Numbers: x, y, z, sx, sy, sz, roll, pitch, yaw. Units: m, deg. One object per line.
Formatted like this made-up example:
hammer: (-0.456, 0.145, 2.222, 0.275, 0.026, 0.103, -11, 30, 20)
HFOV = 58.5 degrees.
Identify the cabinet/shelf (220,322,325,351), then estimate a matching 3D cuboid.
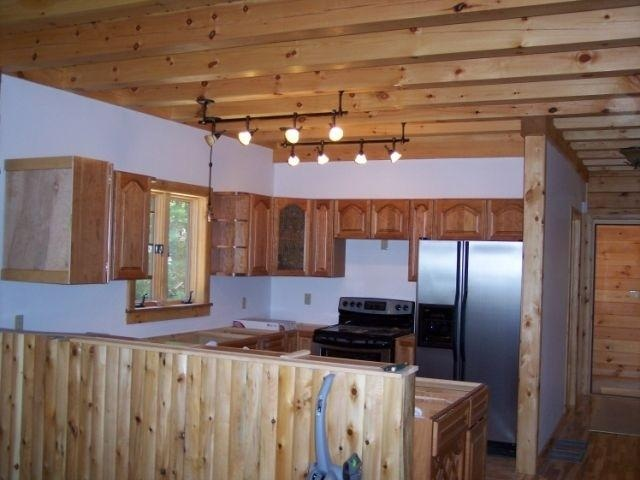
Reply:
cabinet/shelf: (-0.467, 1.083, 5.982, 0.230, 0.241, 1.330, -1, -5, 30)

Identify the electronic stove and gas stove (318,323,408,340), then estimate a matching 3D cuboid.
electronic stove and gas stove: (0.462, 0.993, 6.146, 0.865, 0.105, 0.756, -1, -4, 28)

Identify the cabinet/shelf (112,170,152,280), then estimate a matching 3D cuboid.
cabinet/shelf: (-1.491, -0.106, 4.470, 0.130, 0.807, 0.439, 0, -4, 18)
